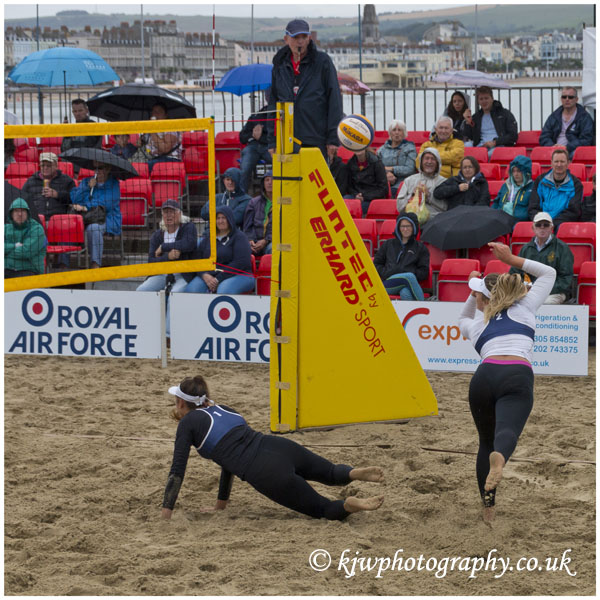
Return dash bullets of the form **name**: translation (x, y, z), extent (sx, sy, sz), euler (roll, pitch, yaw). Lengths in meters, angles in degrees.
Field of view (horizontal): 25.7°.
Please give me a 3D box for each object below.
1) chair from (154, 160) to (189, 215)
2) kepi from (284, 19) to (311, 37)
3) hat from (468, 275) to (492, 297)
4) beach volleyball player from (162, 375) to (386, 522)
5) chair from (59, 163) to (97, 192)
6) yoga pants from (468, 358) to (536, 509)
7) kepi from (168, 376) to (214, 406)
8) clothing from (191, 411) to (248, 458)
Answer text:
- **chair**: translation (-1.621, -1.352, 16.131), extent (0.551, 0.723, 0.570), euler (1, 11, 5)
- **kepi**: translation (-0.035, -2.855, 13.940), extent (0.163, 0.131, 0.227), euler (-4, 10, -8)
- **hat**: translation (1.511, -0.093, 11.021), extent (0.064, 0.182, 0.113), euler (-42, 12, 26)
- **beach volleyball player**: translation (-0.241, 1.402, 10.845), extent (2.004, 1.224, 0.791), euler (13, 13, 20)
- **chair**: translation (-2.775, -1.530, 16.256), extent (0.428, 0.539, 0.409), euler (2, 7, 12)
- **yoga pants**: translation (1.599, 1.113, 10.598), extent (0.512, 1.179, 0.669), euler (2, 9, 17)
- **kepi**: translation (-0.928, 0.749, 10.979), extent (0.319, 0.193, 0.211), euler (18, 41, 30)
- **clothing**: translation (-0.669, 1.063, 10.903), extent (0.420, 0.427, 0.366), euler (9, 46, 3)
